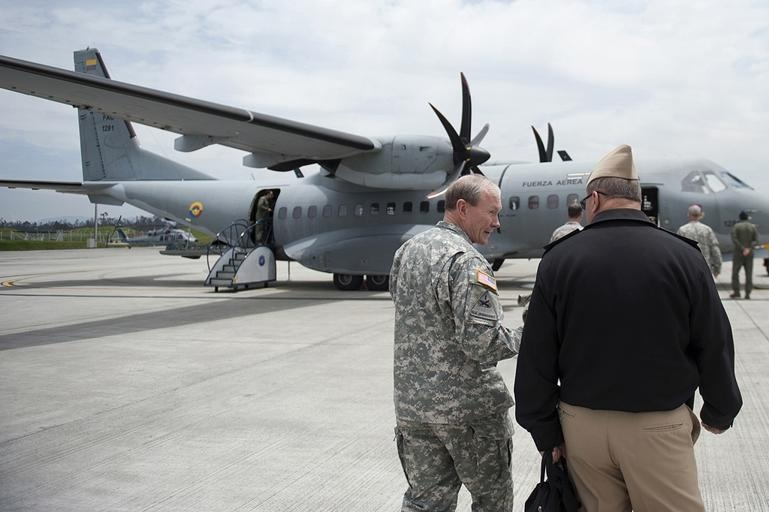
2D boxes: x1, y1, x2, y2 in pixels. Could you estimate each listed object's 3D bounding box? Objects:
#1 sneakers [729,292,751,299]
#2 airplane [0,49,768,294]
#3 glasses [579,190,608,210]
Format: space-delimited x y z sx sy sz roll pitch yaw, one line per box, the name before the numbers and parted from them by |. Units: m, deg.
sneakers | 8.314 0.943 12.743 0.478 0.178 0.155 4 2 11
airplane | -0.962 -1.329 13.036 10.422 3.317 10.263 0 3 24
glasses | 1.219 -0.325 3.160 0.109 0.028 0.106 6 -11 -36
